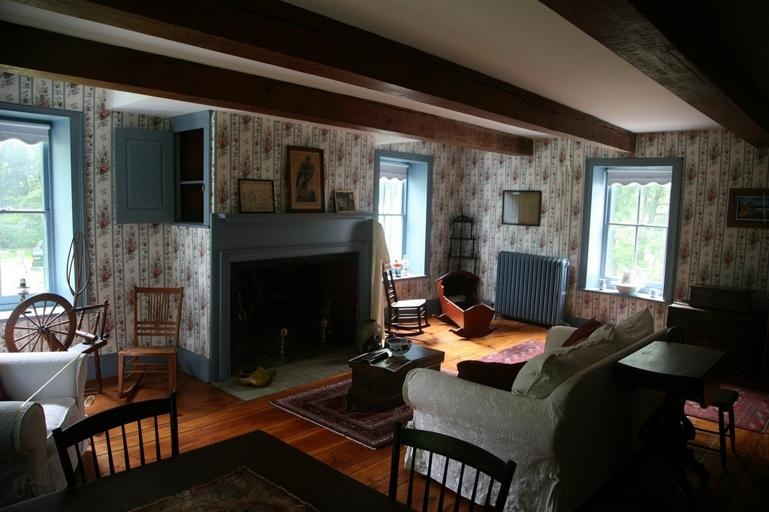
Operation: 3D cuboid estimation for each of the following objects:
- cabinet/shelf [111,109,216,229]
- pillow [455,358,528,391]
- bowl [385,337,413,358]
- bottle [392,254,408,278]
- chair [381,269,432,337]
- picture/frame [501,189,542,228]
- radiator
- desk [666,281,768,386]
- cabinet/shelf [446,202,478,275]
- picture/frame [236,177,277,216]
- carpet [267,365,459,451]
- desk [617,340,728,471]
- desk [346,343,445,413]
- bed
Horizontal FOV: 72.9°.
[{"bbox_3d":[-2.692,-1.009,6.525,1.285,1.633,1.182,2,3,6],"label":"cabinet/shelf"},{"bbox_3d":[0.821,0.899,4.013,0.284,0.096,0.332,2,0,34],"label":"pillow"},{"bbox_3d":[0.132,0.909,5.353,0.205,0.116,0.207,-1,8,0],"label":"bowl"},{"bbox_3d":[0.236,0.155,8.441,0.287,0.511,0.284,1,17,0],"label":"bottle"},{"bbox_3d":[0.312,0.655,7.688,0.770,0.968,0.591,2,6,26],"label":"chair"},{"bbox_3d":[2.208,-0.791,8.416,0.619,0.554,0.047,1,2,-5],"label":"picture/frame"},{"bbox_3d":[2.351,0.513,8.116,1.155,1.083,0.381,8,8,41],"label":"radiator"},{"bbox_3d":[3.653,0.839,5.615,1.041,0.981,0.379,10,15,41],"label":"desk"},{"bbox_3d":[1.352,-0.255,9.037,0.553,1.098,0.202,0,6,8],"label":"cabinet/shelf"},{"bbox_3d":[-1.478,-0.681,5.896,0.041,0.395,0.488,-4,0,43],"label":"picture/frame"},{"bbox_3d":[-0.233,1.551,5.408,1.230,0.011,1.398,12,4,29],"label":"carpet"},{"bbox_3d":[2.267,1.285,4.343,0.809,1.141,1.205,1,12,23],"label":"desk"},{"bbox_3d":[0.213,1.432,5.881,0.865,0.707,1.530,-6,-13,13],"label":"desk"},{"bbox_3d":[1.221,0.727,7.978,0.845,0.885,0.869,-2,12,-17],"label":"bed"}]
